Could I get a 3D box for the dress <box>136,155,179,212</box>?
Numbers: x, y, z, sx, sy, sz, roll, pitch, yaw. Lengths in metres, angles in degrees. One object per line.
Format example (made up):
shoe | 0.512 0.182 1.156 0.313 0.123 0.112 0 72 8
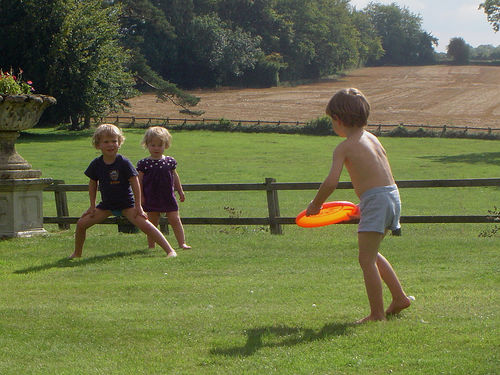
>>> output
dress | -4.929 -0.114 60.150 1.852 2.916 0.282 -2 5 0
